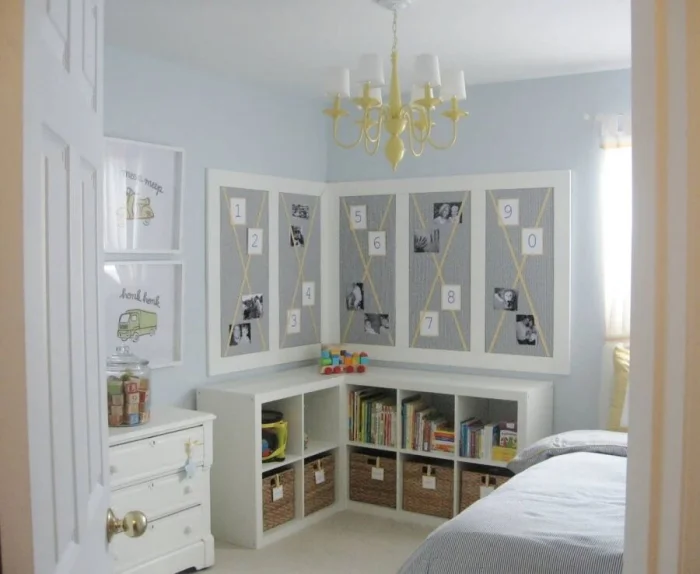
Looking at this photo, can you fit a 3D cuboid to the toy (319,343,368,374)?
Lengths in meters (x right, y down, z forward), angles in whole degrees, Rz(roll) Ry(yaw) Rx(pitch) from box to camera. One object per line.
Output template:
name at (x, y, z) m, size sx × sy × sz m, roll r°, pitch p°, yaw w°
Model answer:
toy at (-0.047, 0.494, 4.311) m, size 0.214 × 0.133 × 0.225 m, roll 0°, pitch -1°, yaw -19°

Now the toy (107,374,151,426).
toy at (-1.103, 0.559, 3.012) m, size 0.198 × 0.258 × 0.127 m, roll -5°, pitch 9°, yaw -21°

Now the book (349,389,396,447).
book at (0.203, 0.849, 4.236) m, size 0.289 × 0.442 × 0.415 m, roll 0°, pitch -2°, yaw 22°

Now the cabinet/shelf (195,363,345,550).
cabinet/shelf at (-0.514, 1.076, 3.705) m, size 0.354 × 0.972 × 0.959 m, roll 0°, pitch 1°, yaw 29°

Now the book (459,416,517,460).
book at (0.870, 0.966, 3.748) m, size 0.248 × 0.137 × 0.261 m, roll -1°, pitch 0°, yaw 25°

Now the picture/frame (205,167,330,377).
picture/frame at (-0.578, -0.108, 4.195) m, size 0.111 × 1.389 × 1.160 m, roll 6°, pitch 11°, yaw 38°
